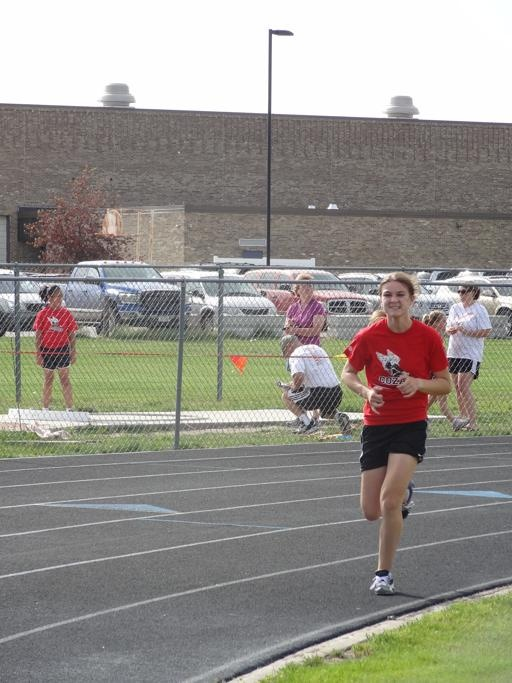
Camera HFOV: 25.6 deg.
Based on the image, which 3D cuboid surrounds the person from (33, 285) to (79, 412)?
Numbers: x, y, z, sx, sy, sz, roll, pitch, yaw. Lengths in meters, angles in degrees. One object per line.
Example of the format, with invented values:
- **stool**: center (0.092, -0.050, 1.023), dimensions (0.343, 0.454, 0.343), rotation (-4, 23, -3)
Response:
- **person**: center (-2.163, 0.078, 12.354), dimensions (0.462, 1.357, 0.523), rotation (0, 2, -11)

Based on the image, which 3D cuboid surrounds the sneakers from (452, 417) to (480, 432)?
- **sneakers**: center (2.337, 0.946, 12.656), dimensions (0.153, 0.097, 0.203), rotation (1, 3, -23)

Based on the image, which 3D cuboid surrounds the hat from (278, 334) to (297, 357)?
- **hat**: center (0.321, 0.056, 12.381), dimensions (0.193, 0.227, 0.233), rotation (1, -4, -13)

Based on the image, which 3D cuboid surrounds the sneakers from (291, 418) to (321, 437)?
- **sneakers**: center (0.565, 0.964, 12.293), dimensions (0.337, 0.147, 0.120), rotation (-1, 2, 9)

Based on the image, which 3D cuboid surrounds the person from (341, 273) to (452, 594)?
- **person**: center (0.716, 0.496, 5.860), dimensions (0.557, 1.687, 0.499), rotation (1, 2, 15)

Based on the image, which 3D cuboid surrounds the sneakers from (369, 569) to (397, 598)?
- **sneakers**: center (0.673, 1.286, 5.935), dimensions (0.128, 0.131, 0.292), rotation (0, -7, 5)

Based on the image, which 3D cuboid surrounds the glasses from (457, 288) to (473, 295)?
- **glasses**: center (2.287, -0.531, 12.361), dimensions (0.100, 0.053, 0.071), rotation (1, -2, -13)

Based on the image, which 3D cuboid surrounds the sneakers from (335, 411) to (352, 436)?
- **sneakers**: center (0.964, 0.916, 12.195), dimensions (0.149, 0.243, 0.246), rotation (-13, 48, -7)
